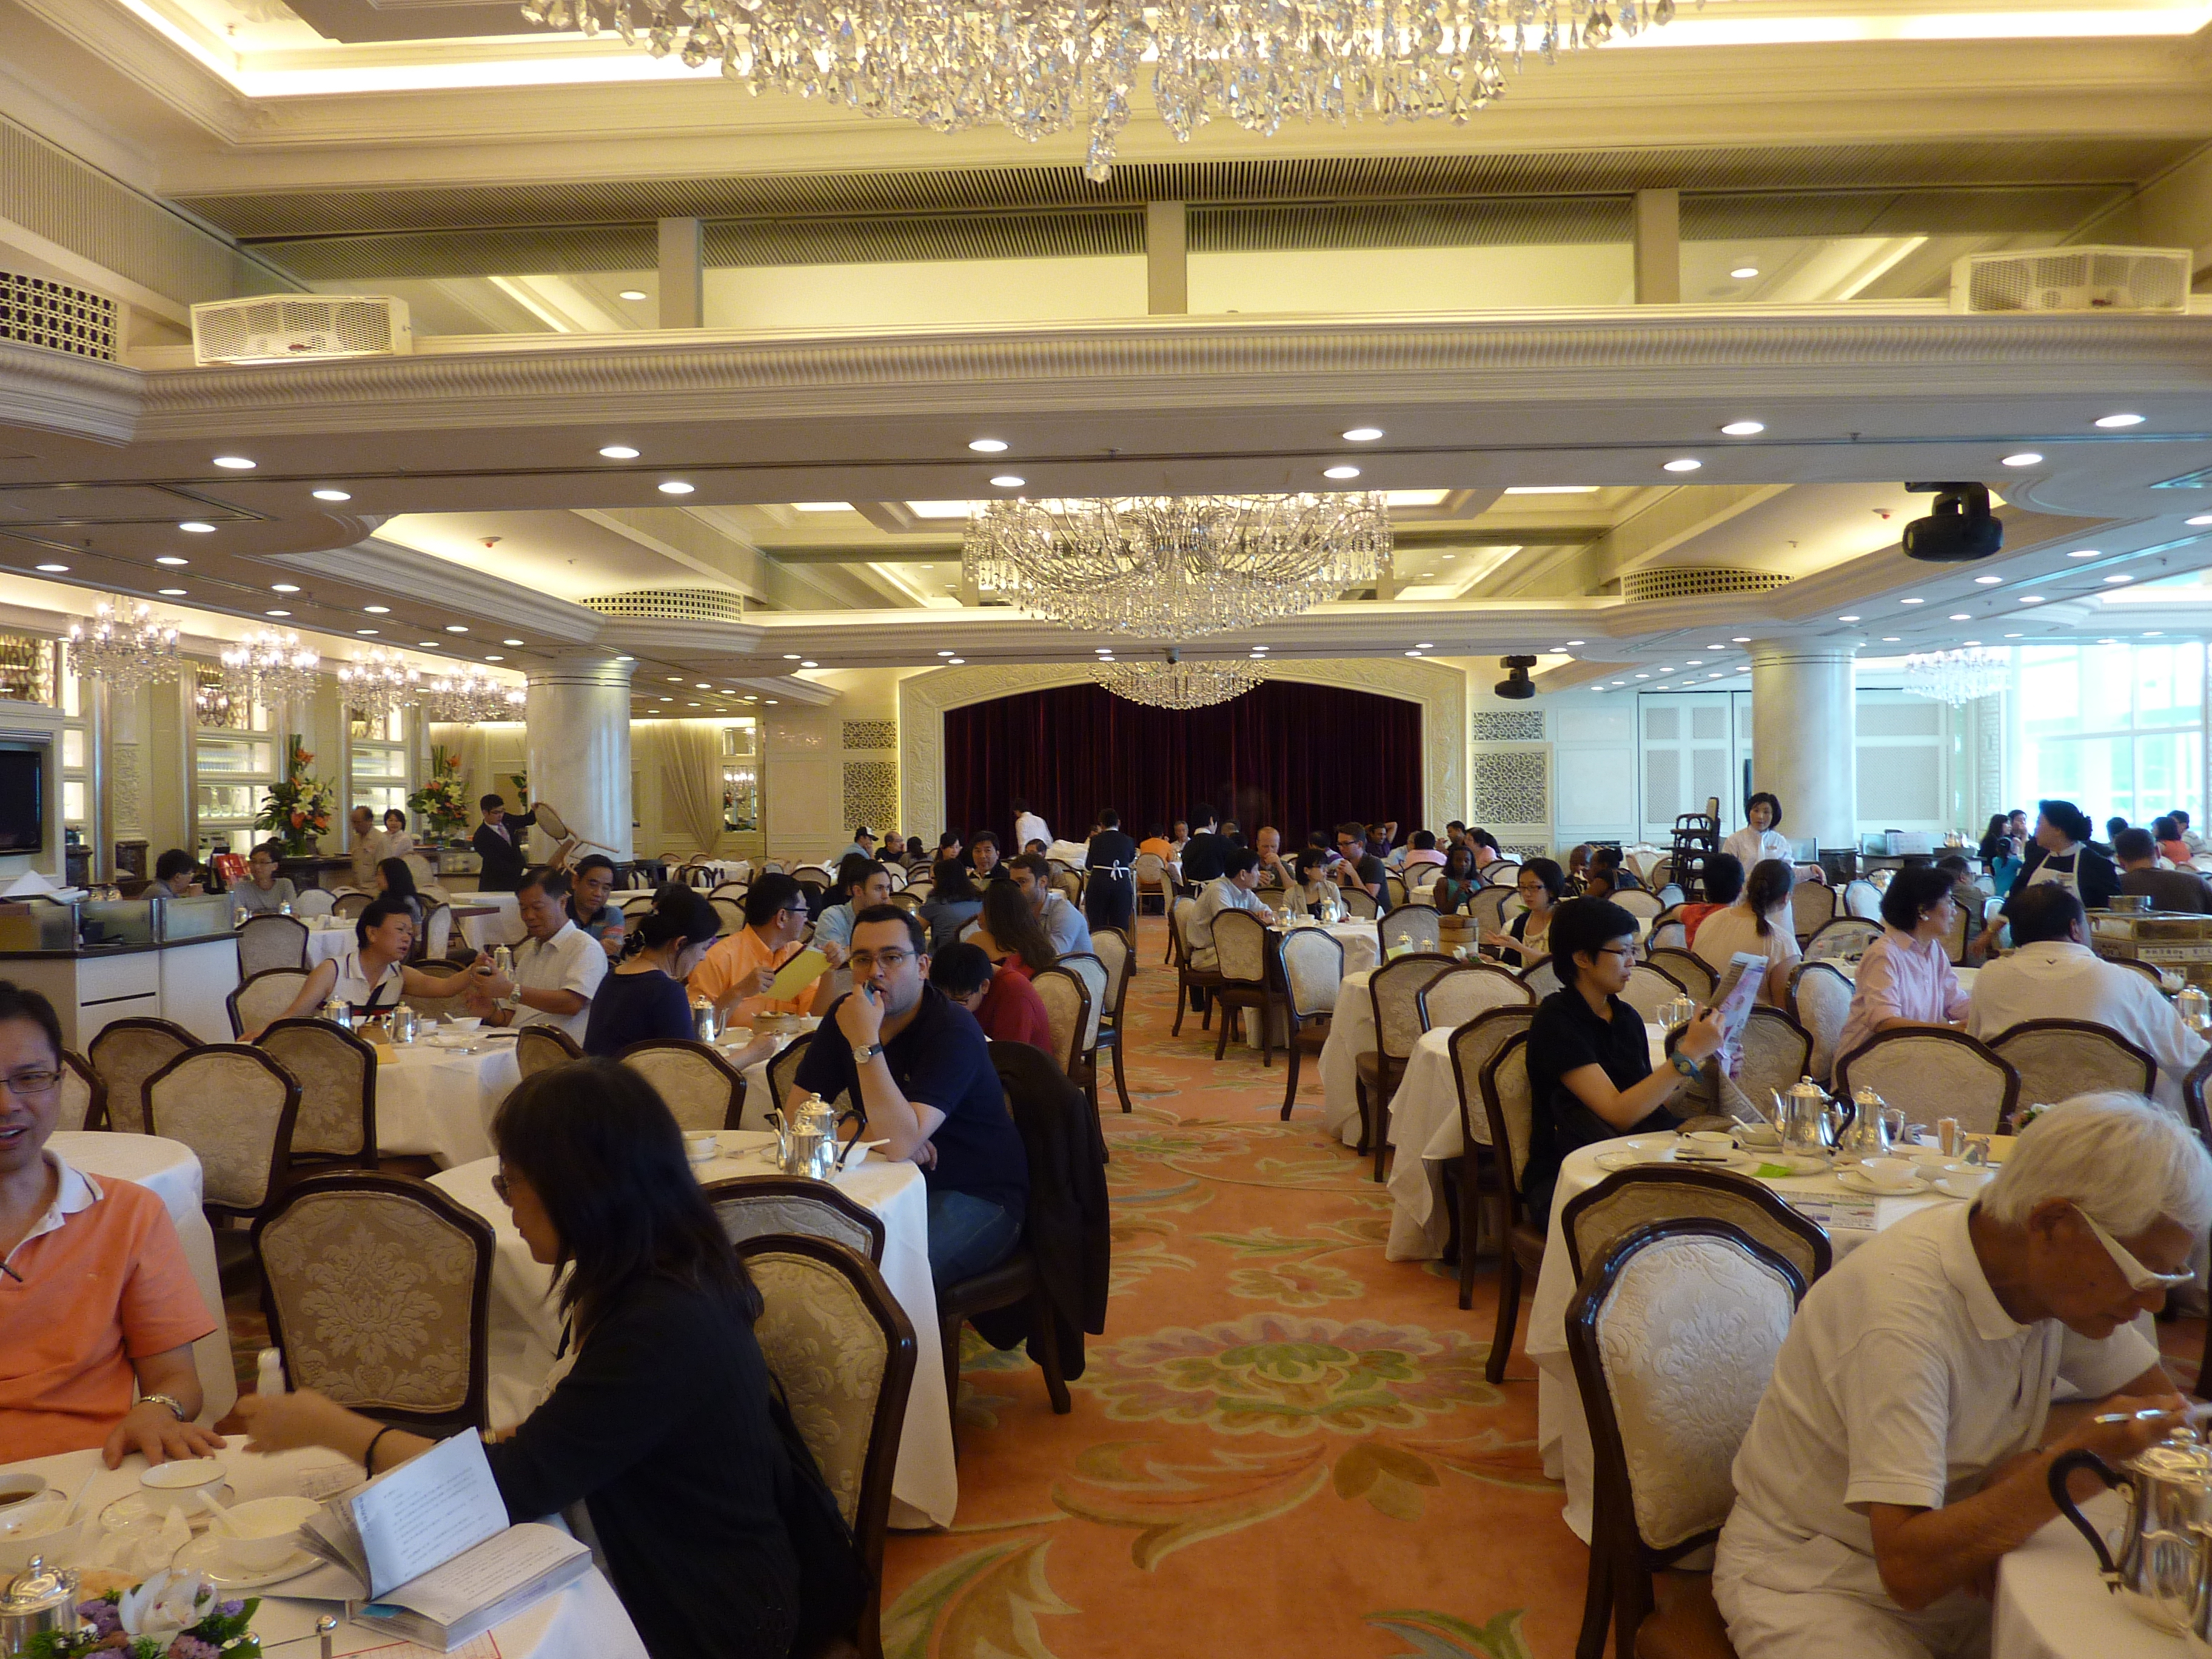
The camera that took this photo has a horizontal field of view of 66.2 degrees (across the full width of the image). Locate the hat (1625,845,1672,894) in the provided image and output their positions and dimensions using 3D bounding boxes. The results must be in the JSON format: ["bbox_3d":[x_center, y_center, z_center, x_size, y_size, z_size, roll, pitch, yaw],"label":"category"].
[{"bbox_3d":[5.133,0.363,16.179,0.402,0.539,1.362,-3,-6,16],"label":"hat"}]

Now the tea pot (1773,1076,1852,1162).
[{"bbox_3d":[1.834,0.752,4.468,0.183,0.168,0.125,4,-4,6],"label":"tea pot"}]

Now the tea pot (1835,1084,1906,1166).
[{"bbox_3d":[1.946,0.766,4.347,0.178,0.173,0.132,1,-6,-5],"label":"tea pot"}]

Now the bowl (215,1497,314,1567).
[{"bbox_3d":[-1.282,1.062,2.583,0.122,0.058,0.125,2,2,0],"label":"bowl"}]

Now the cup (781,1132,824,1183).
[{"bbox_3d":[-0.747,0.802,4.190,0.121,0.169,0.092,2,-6,-10],"label":"cup"}]

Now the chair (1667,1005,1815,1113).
[{"bbox_3d":[1.851,0.679,5.011,0.263,0.480,0.292,14,5,13],"label":"chair"}]

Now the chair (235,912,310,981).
[{"bbox_3d":[-4.355,0.609,8.845,0.284,0.524,0.318,-1,4,-31],"label":"chair"}]

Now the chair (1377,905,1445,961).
[{"bbox_3d":[1.741,0.566,9.808,0.336,0.576,0.396,0,-7,2],"label":"chair"}]

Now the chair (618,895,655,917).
[{"bbox_3d":[-3.059,0.483,10.999,0.138,0.192,0.153,4,-4,-13],"label":"chair"}]

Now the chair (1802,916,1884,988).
[{"bbox_3d":[3.240,0.534,7.504,0.215,0.303,0.232,-4,-9,37],"label":"chair"}]

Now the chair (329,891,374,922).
[{"bbox_3d":[-4.919,0.494,11.041,0.161,0.238,0.172,2,8,-10],"label":"chair"}]

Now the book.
[{"bbox_3d":[-0.965,1.052,2.473,0.327,0.145,0.282,21,9,36],"label":"book"}]

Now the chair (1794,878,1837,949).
[{"bbox_3d":[4.231,0.505,10.189,0.278,0.503,0.324,3,8,19],"label":"chair"}]

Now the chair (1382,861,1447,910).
[{"bbox_3d":[2.473,0.443,13.798,0.376,0.534,0.371,0,1,17],"label":"chair"}]

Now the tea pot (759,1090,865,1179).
[{"bbox_3d":[-0.760,0.788,4.331,0.241,0.228,0.143,3,-9,-14],"label":"tea pot"}]

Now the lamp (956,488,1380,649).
[{"bbox_3d":[0.406,-1.571,9.674,1.200,0.640,1.235,-3,-5,36],"label":"lamp"}]

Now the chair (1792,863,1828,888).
[{"bbox_3d":[4.948,0.313,12.027,0.161,0.123,0.162,-6,10,-8],"label":"chair"}]

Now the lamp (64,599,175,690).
[{"bbox_3d":[-6.869,-1.264,11.726,0.635,0.502,0.650,2,1,8],"label":"lamp"}]

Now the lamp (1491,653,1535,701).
[{"bbox_3d":[4.389,-1.663,18.266,0.289,0.424,1.060,3,8,18],"label":"lamp"}]

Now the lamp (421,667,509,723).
[{"bbox_3d":[-5.955,-1.230,15.647,0.555,0.386,0.557,1,1,-13],"label":"lamp"}]

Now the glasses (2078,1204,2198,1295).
[{"bbox_3d":[1.540,0.651,2.571,0.128,0.036,0.129,14,26,-50],"label":"glasses"}]

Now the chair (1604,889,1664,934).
[{"bbox_3d":[2.508,0.381,8.110,0.200,0.288,0.225,4,12,24],"label":"chair"}]

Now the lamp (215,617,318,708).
[{"bbox_3d":[-6.440,-1.247,13.117,0.736,0.699,0.758,0,-3,20],"label":"lamp"}]

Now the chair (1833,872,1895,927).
[{"bbox_3d":[4.668,0.427,10.552,0.311,0.456,0.333,-4,-5,34],"label":"chair"}]

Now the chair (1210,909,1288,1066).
[{"bbox_3d":[0.842,0.884,9.991,0.442,0.834,0.534,1,2,32],"label":"chair"}]

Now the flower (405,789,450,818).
[{"bbox_3d":[-6.888,-0.295,17.440,0.421,0.199,0.433,-2,-2,21],"label":"flower"}]
